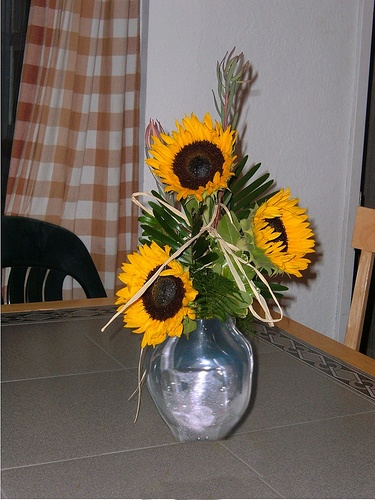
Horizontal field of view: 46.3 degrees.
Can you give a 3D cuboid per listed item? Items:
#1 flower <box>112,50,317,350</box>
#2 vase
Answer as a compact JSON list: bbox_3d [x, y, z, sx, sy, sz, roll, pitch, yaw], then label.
[{"bbox_3d":[0.032,-0.057,0.471,0.200,0.325,0.250,3,8,-9],"label":"flower"},{"bbox_3d":[0.013,0.144,0.499,0.122,0.133,0.129,-3,-2,15],"label":"vase"}]
